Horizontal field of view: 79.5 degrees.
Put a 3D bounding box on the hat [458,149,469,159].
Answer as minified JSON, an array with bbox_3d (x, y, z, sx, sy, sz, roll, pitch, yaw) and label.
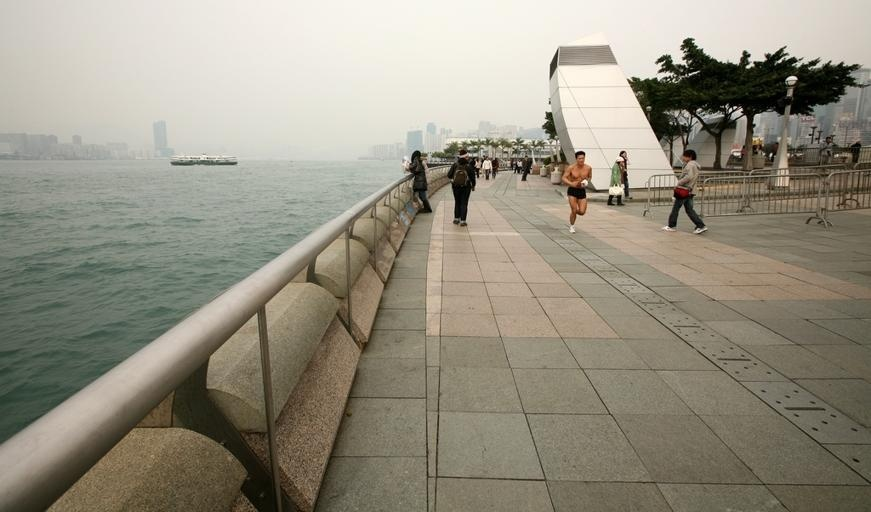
[{"bbox_3d":[0.757,-2.843,14.483,0.388,0.125,0.374,-2,6,9],"label":"hat"}]

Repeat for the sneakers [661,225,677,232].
[{"bbox_3d":[5.809,-0.705,13.073,0.136,0.145,0.335,-10,18,-23],"label":"sneakers"}]

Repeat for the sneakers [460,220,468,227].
[{"bbox_3d":[0.757,-0.894,13.990,0.165,0.162,0.419,0,14,9],"label":"sneakers"}]

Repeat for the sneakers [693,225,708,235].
[{"bbox_3d":[6.362,-0.666,12.598,0.284,0.192,0.411,4,15,23],"label":"sneakers"}]

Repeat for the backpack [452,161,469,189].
[{"bbox_3d":[0.642,-2.128,13.618,0.403,0.611,0.497,-2,13,1],"label":"backpack"}]

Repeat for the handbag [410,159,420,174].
[{"bbox_3d":[-0.602,-2.634,15.291,0.135,0.323,0.334,23,2,-12],"label":"handbag"}]

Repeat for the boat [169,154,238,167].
[{"bbox_3d":[-82.500,-34.526,188.487,18.863,4.024,15.699,-3,14,-5],"label":"boat"}]

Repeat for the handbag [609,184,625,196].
[{"bbox_3d":[6.589,-2.420,19.059,0.394,0.498,0.721,4,15,27],"label":"handbag"}]

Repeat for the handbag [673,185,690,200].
[{"bbox_3d":[5.857,-1.575,12.611,0.311,0.361,0.406,-11,12,-24],"label":"handbag"}]
